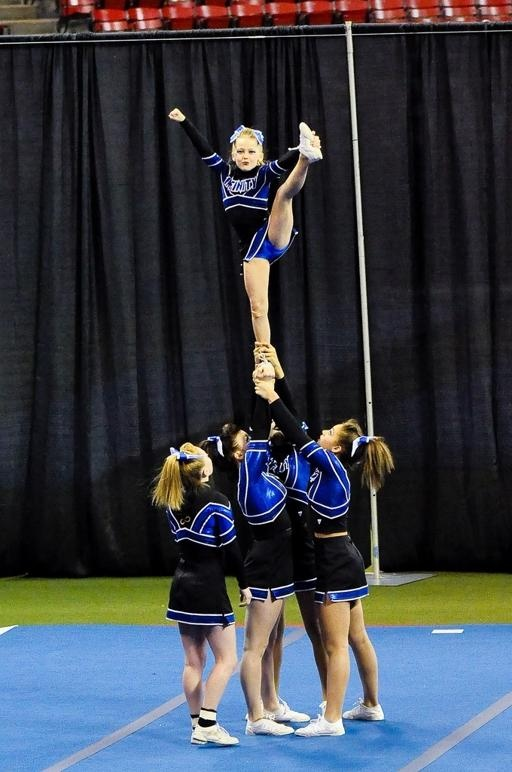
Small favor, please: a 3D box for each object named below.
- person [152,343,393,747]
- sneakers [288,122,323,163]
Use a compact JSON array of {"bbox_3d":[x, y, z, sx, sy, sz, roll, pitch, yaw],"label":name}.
[{"bbox_3d":[0.217,0.547,3.928,0.626,1.257,0.523,-2,0,-14],"label":"person"},{"bbox_3d":[0.190,-0.870,3.813,0.073,0.169,0.110,-2,-44,-19],"label":"sneakers"}]
